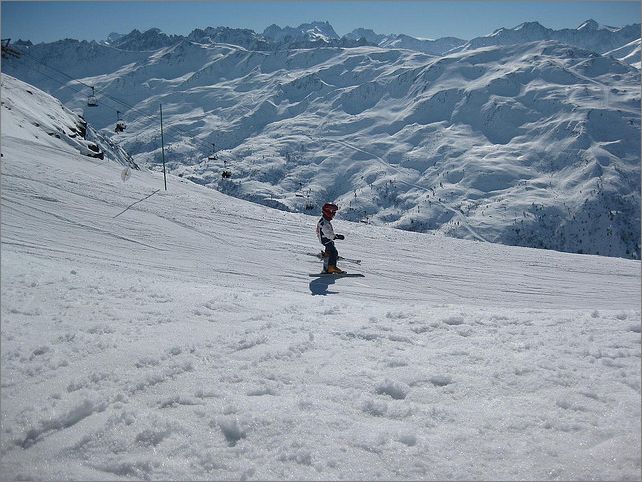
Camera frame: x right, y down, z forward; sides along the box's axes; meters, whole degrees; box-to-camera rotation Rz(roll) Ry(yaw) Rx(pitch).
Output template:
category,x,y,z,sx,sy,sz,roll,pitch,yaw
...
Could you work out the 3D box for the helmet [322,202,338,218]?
category,x,y,z,sx,sy,sz,roll,pitch,yaw
helmet,0.319,-1.220,26.666,0.622,0.533,0.461,-7,19,3
